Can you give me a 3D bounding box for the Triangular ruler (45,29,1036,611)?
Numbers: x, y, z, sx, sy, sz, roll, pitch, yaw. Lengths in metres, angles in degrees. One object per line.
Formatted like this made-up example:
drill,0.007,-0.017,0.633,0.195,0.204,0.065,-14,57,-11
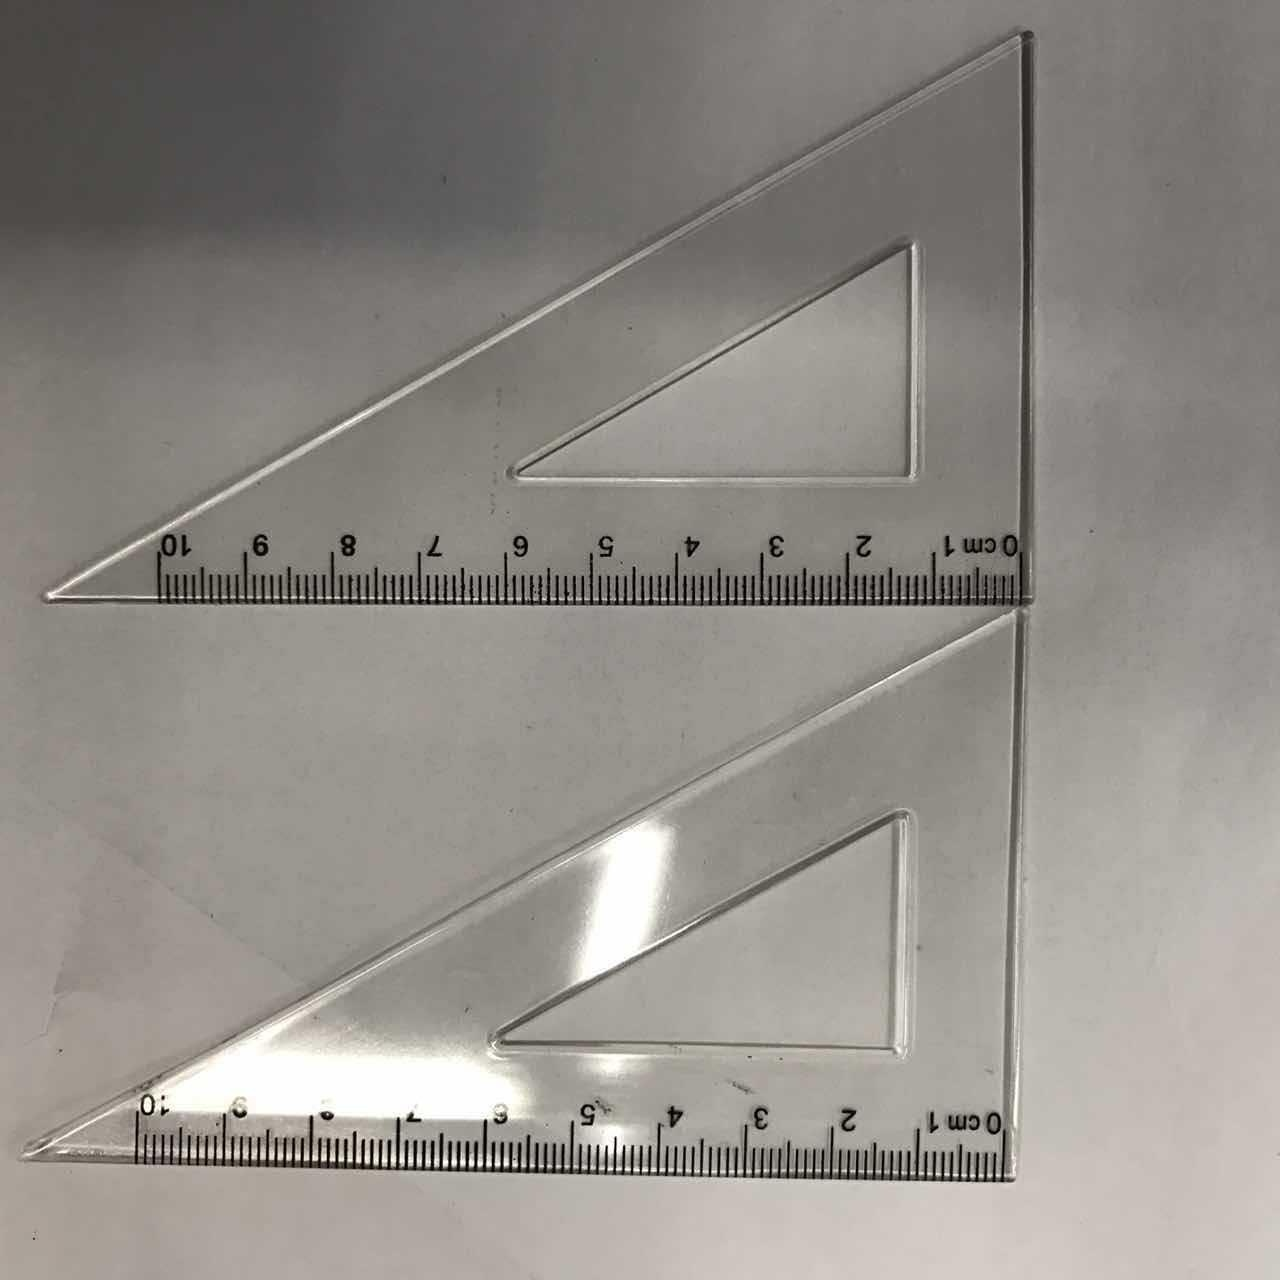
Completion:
Triangular ruler,0.013,-0.342,2.852,0.997,0.780,0.023,-6,2,-1
